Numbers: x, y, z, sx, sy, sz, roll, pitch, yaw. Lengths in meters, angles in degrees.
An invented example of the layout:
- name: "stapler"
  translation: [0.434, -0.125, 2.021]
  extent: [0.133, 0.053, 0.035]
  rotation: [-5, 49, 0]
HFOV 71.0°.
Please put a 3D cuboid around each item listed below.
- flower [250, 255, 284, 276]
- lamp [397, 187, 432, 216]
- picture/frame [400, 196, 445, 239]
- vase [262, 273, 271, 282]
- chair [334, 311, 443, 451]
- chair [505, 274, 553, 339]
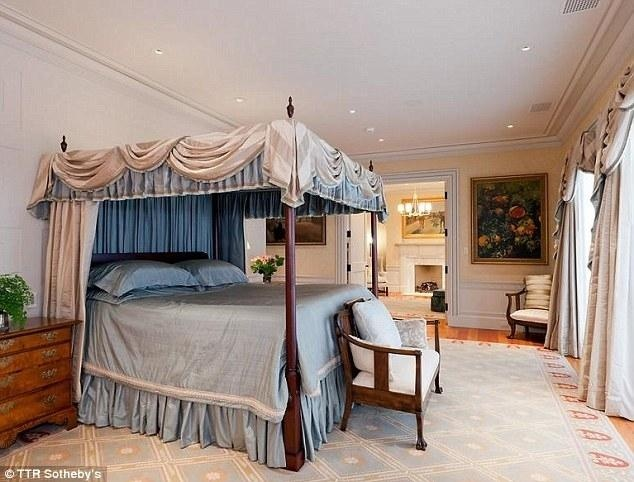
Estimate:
- name: "flower"
  translation: [-0.817, 0.373, 7.000]
  extent: [0.390, 0.284, 0.399]
  rotation: [2, 4, 34]
- name: "lamp"
  translation: [2.633, -1.033, 12.190]
  extent: [0.755, 0.990, 0.784]
  rotation: [-1, 2, 10]
- name: "picture/frame"
  translation: [3.101, -0.677, 12.837]
  extent: [1.344, 1.199, 0.116]
  rotation: [1, 3, 32]
- name: "vase"
  translation: [-0.771, 0.591, 7.030]
  extent: [0.173, 0.179, 0.123]
  rotation: [4, -10, -25]
- name: "chair"
  translation: [0.807, 1.271, 4.815]
  extent: [0.896, 1.155, 1.677]
  rotation: [0, 0, 21]
- name: "chair"
  translation: [3.477, 1.110, 7.370]
  extent: [0.681, 1.030, 1.169]
  rotation: [3, 7, 28]
